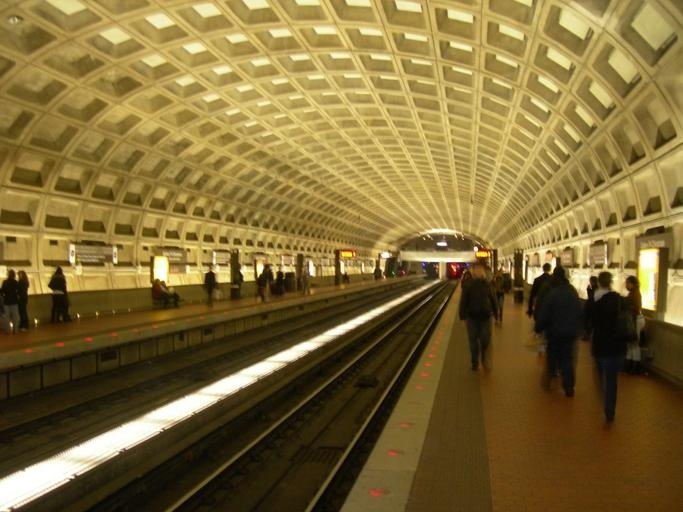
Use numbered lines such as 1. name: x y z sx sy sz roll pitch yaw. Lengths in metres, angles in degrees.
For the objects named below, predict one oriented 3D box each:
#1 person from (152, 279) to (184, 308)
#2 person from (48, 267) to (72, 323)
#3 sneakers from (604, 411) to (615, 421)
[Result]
1. person: -8.518 1.823 21.005 0.722 1.326 1.375 -2 -3 24
2. person: -10.311 1.405 15.867 0.627 2.049 1.332 1 -3 -33
3. sneakers: 4.179 2.483 6.751 0.112 0.152 0.240 -3 -3 33
